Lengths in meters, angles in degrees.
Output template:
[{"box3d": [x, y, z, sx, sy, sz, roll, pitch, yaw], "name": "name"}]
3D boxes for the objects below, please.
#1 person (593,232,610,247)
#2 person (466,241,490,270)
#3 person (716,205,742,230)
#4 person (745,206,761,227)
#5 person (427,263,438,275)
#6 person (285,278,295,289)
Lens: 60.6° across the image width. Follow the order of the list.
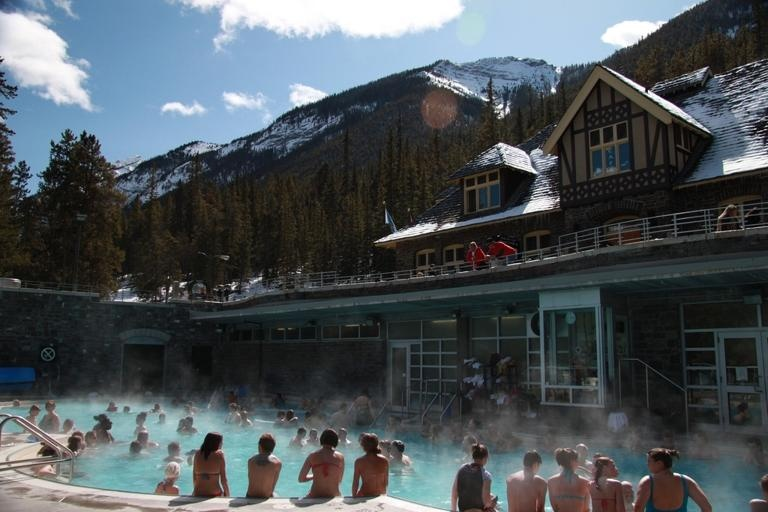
[{"box3d": [10.566, -0.710, 31.713, 0.502, 0.935, 0.839, 2, -2, -32], "name": "person"}, {"box3d": [5.037, 0.022, 34.941, 0.702, 1.863, 1.171, -7, -3, -36], "name": "person"}, {"box3d": [14.733, -1.610, 27.953, 0.807, 1.242, 1.138, -3, 1, -28], "name": "person"}, {"box3d": [16.171, -1.744, 28.711, 0.214, 0.975, 0.882, 8, -4, -27], "name": "person"}, {"box3d": [2.903, 0.798, 38.567, 0.545, 0.562, 0.956, 7, 3, 3], "name": "person"}, {"box3d": [-8.619, 2.475, 60.355, 0.788, 0.861, 0.217, -1, 2, 30], "name": "person"}]
